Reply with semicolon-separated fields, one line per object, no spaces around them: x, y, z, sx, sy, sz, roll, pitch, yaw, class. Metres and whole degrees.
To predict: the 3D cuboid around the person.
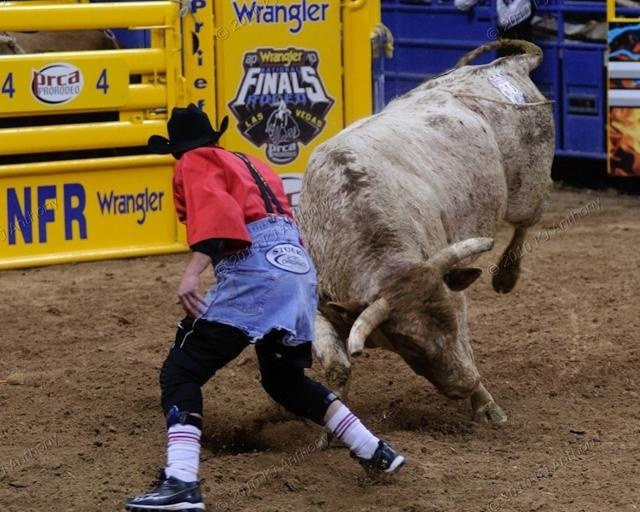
-0.308;0.313;4.844;1.253;1.717;0.940;-6;18;-12;person

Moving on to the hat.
-0.685;-0.726;5.094;0.506;0.184;0.521;-12;15;17;hat

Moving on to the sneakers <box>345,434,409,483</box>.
0.318;1.090;5.069;0.190;0.123;0.377;22;1;0;sneakers
